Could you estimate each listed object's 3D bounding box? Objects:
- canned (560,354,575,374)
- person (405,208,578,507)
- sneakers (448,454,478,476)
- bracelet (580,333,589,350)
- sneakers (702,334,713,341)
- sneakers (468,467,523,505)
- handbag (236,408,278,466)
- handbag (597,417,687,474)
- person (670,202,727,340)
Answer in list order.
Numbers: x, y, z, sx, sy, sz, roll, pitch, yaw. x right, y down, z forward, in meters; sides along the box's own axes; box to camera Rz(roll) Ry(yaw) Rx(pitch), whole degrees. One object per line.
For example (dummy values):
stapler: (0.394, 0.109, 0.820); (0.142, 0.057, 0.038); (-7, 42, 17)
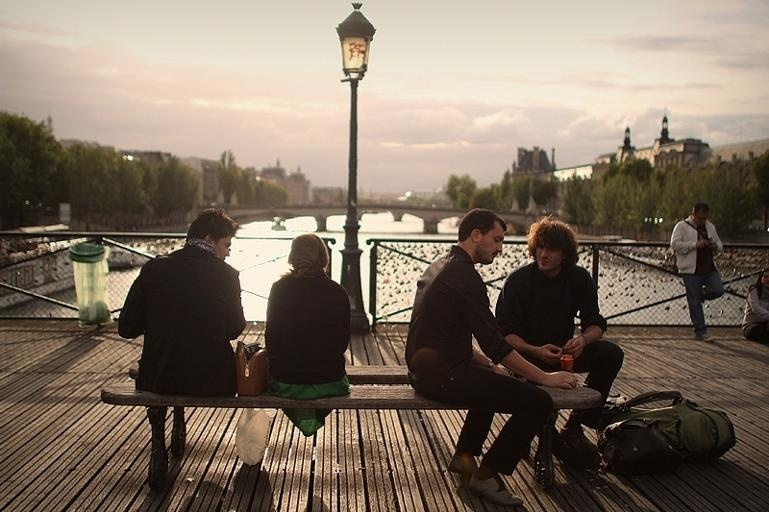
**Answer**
canned: (1.707, 1.011, 6.667); (0.137, 0.245, 0.146); (-4, 0, 28)
person: (0.852, 0.877, 6.404); (1.317, 2.561, 0.579); (5, 11, 17)
sneakers: (0.721, 1.948, 6.581); (0.247, 0.248, 0.158); (-4, 12, -1)
bracelet: (1.956, 0.831, 6.992); (0.093, 0.130, 0.054); (4, -2, 17)
sneakers: (5.061, 1.256, 11.082); (0.122, 0.082, 0.252); (10, 14, 35)
sneakers: (0.941, 2.066, 6.409); (0.536, 0.284, 0.207); (14, -5, 0)
handbag: (-1.275, 1.731, 6.833); (0.200, 0.707, 0.463); (7, -11, -9)
handbag: (2.432, 1.812, 6.724); (0.601, 0.470, 0.461); (-6, 5, -2)
person: (4.965, 0.213, 11.302); (0.788, 2.101, 0.859); (9, 13, 34)
